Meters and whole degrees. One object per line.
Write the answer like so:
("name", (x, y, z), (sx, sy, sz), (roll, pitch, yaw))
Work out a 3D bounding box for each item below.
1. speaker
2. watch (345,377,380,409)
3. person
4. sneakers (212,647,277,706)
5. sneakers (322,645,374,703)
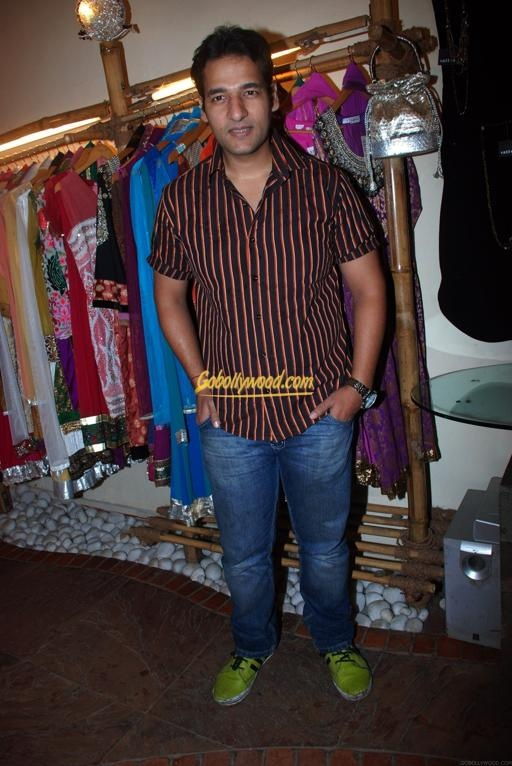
("speaker", (0.641, 0.561, 1.641), (0.155, 0.395, 0.431), (-3, 12, 23))
("watch", (0.246, 0.010, 1.317), (0.090, 0.057, 0.036), (33, 54, 12))
("person", (0.036, 0.030, 1.379), (0.576, 1.621, 0.367), (-2, 14, 12))
("sneakers", (-0.048, 0.826, 1.567), (0.062, 0.075, 0.189), (7, 6, 22))
("sneakers", (0.252, 0.796, 1.544), (0.090, 0.091, 0.252), (-9, -1, -5))
